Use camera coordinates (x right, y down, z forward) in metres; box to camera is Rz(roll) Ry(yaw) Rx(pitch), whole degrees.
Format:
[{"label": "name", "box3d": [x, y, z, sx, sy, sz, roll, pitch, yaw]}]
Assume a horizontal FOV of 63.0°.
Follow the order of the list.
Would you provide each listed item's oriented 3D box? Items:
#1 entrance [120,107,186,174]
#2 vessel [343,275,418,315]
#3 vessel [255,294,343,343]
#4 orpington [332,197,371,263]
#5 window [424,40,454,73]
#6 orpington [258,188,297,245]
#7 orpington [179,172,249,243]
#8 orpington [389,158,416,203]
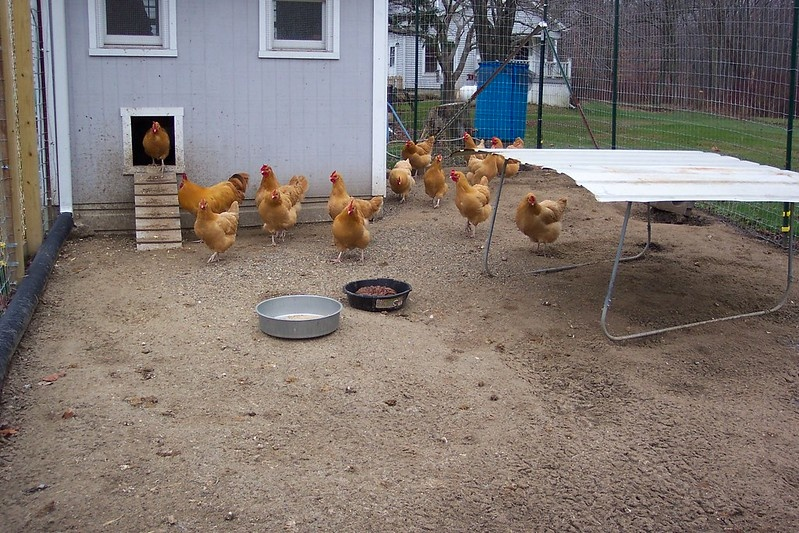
[{"label": "entrance", "box3d": [-3.505, -1.826, 9.327, 0.912, 0.843, 0.485, -3, 15, -14]}, {"label": "vessel", "box3d": [-0.243, 0.323, 7.246, 0.738, 0.226, 0.563, -1, 18, 0]}, {"label": "vessel", "box3d": [-1.006, 0.518, 6.648, 0.849, 0.267, 0.624, -5, 18, -12]}, {"label": "orpington", "box3d": [-0.615, -0.465, 8.325, 0.446, 0.826, 0.675, -2, 18, -5]}, {"label": "window", "box3d": [1.178, -6.299, 19.625, 0.875, 1.140, 1.165, -2, 19, -3]}, {"label": "orpington", "box3d": [-1.691, -0.708, 9.021, 0.433, 0.814, 0.627, 2, 18, 8]}, {"label": "orpington", "box3d": [-2.598, -0.996, 9.212, 0.987, 0.693, 0.514, -13, 33, -24]}, {"label": "orpington", "box3d": [0.026, -1.514, 11.282, 0.450, 0.659, 0.925, 2, 40, 5]}]
